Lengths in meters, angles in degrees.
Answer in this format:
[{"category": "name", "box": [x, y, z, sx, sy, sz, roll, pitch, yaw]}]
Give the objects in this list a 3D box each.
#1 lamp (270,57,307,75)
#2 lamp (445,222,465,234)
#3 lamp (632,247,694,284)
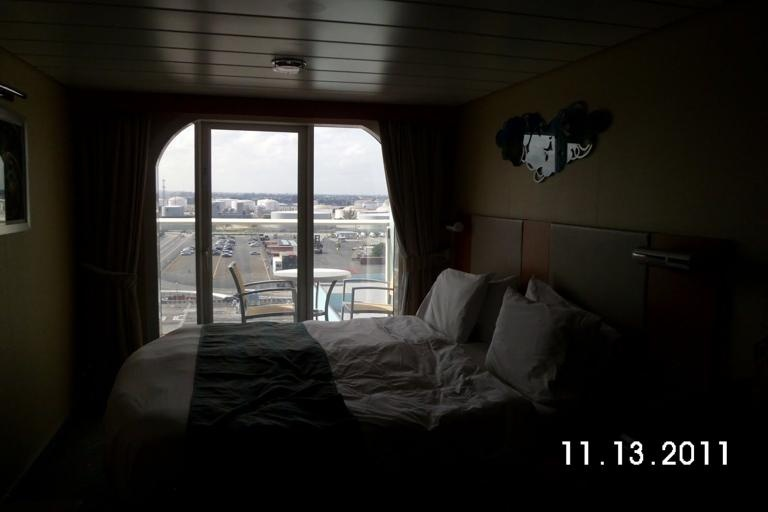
[{"category": "lamp", "box": [-0.700, -1.416, 3.717, 0.263, 0.080, 0.300, -2, 15, -11]}, {"category": "lamp", "box": [0.726, -0.320, 5.087, 0.109, 0.096, 0.161, -18, 5, -14]}, {"category": "lamp", "box": [1.628, 0.064, 2.932, 0.138, 0.221, 0.354, -5, 15, -22]}]
